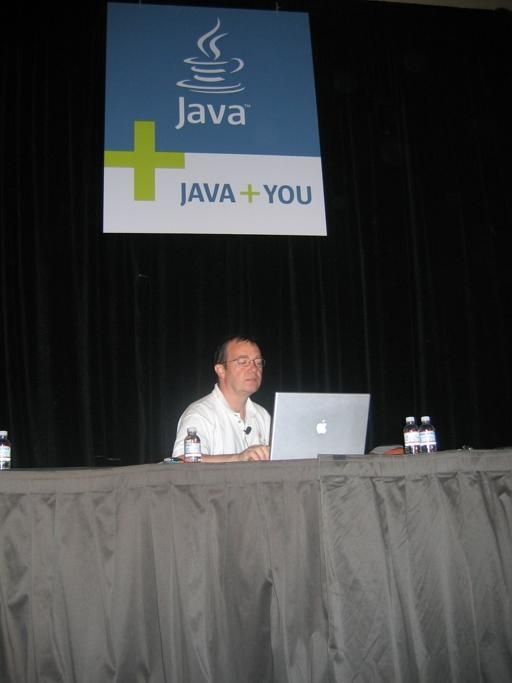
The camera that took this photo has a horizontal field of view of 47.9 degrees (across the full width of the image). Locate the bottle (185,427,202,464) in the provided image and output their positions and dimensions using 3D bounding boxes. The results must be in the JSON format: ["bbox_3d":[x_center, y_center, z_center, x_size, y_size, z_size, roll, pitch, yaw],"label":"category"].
[{"bbox_3d":[-0.149,0.251,1.380,0.041,0.126,0.055,-4,-6,-3],"label":"bottle"}]

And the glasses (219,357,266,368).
[{"bbox_3d":[-0.046,0.080,2.084,0.146,0.039,0.074,-3,-5,-7],"label":"glasses"}]
